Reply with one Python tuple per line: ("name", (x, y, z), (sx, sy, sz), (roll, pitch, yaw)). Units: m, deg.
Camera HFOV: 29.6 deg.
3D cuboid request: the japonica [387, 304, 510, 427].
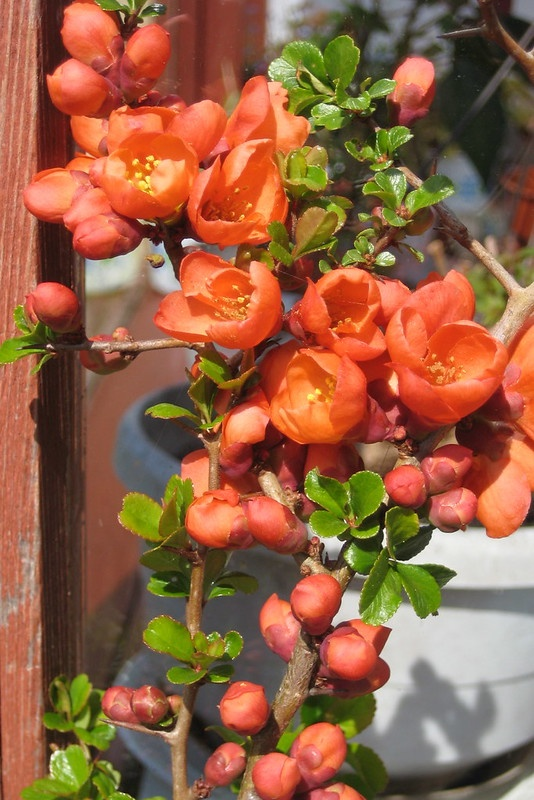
("japonica", (0.095, -0.018, 0.542), (0.069, 0.048, 0.065), (6, 36, -9))
